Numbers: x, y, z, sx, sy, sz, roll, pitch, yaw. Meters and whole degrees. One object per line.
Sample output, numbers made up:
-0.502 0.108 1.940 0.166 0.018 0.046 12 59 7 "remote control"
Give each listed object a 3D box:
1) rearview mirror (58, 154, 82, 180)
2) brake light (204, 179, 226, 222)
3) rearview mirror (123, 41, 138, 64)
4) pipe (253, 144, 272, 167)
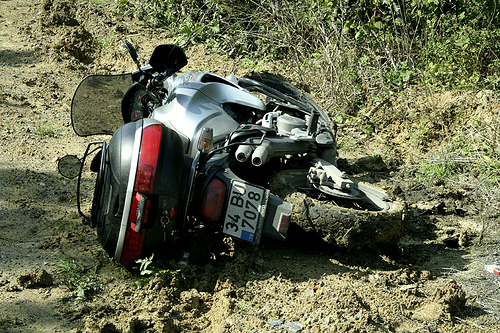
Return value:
-2.338 0.012 8.313 0.287 0.311 0.214 2 16 -15 "rearview mirror"
-0.478 0.413 8.142 0.286 0.570 0.136 18 -8 -17 "brake light"
-1.544 -1.492 8.360 0.047 0.326 0.108 4 40 49 "rearview mirror"
0.154 -0.154 8.403 0.144 0.269 0.274 16 18 31 "pipe"
